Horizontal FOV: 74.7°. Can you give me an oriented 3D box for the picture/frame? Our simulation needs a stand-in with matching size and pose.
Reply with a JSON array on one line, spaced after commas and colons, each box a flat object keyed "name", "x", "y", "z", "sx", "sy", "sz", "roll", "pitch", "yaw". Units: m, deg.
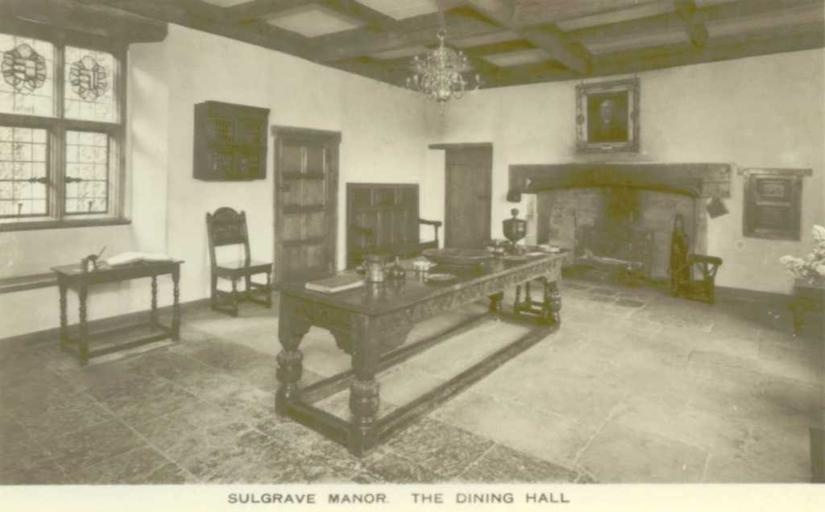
[{"name": "picture/frame", "x": 3.591, "y": -2.609, "z": 10.010, "sx": 1.127, "sy": 1.320, "sz": 0.253, "roll": 2, "pitch": 11, "yaw": 20}]

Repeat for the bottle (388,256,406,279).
[{"name": "bottle", "x": -0.174, "y": 0.146, "z": 6.168, "sx": 0.241, "sy": 0.240, "sz": 0.227, "roll": 0, "pitch": 1, "yaw": -3}]

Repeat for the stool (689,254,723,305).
[{"name": "stool", "x": 4.797, "y": 0.365, "z": 9.203, "sx": 0.769, "sy": 0.914, "sz": 0.830, "roll": -1, "pitch": 1, "yaw": 29}]

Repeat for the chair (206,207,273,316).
[{"name": "chair", "x": -2.725, "y": 0.012, "z": 8.456, "sx": 0.886, "sy": 1.567, "sz": 0.907, "roll": -6, "pitch": 11, "yaw": -25}]

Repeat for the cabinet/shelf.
[{"name": "cabinet/shelf", "x": -2.819, "y": -1.810, "z": 8.324, "sx": 1.440, "sy": 1.442, "sz": 0.515, "roll": -2, "pitch": 3, "yaw": -44}]

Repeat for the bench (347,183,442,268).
[{"name": "bench", "x": -0.405, "y": -0.597, "z": 10.201, "sx": 0.635, "sy": 1.369, "sz": 1.929, "roll": 2, "pitch": 4, "yaw": 38}]
